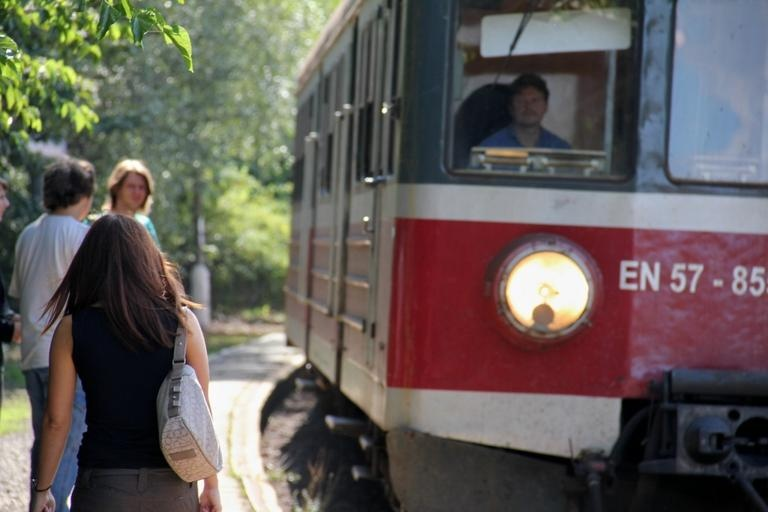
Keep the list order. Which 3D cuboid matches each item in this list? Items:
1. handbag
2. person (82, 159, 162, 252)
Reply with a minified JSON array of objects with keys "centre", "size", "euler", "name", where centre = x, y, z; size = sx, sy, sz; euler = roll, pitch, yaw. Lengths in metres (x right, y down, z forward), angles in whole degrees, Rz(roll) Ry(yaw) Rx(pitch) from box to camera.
[{"centre":[-1.038,0.756,5.955],"size":[0.348,0.907,0.250],"euler":[3,3,-6],"name":"handbag"},{"centre":[-1.946,-0.360,8.417],"size":[0.713,0.735,0.375],"euler":[4,-6,-36],"name":"person"}]
